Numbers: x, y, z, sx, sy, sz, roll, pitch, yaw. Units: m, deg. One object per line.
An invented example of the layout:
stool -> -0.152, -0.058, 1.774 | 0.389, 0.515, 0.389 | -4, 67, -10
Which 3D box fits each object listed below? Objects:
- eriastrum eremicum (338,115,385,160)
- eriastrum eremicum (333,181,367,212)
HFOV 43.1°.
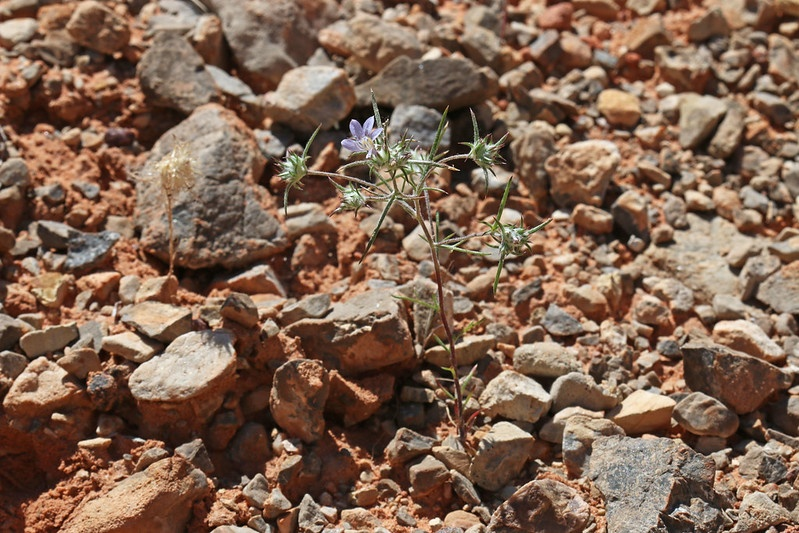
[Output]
eriastrum eremicum -> -0.214, -0.854, 6.860 | 0.304, 0.317, 0.182 | -7, 79, 25
eriastrum eremicum -> -0.334, -0.481, 7.117 | 0.131, 0.263, 0.244 | -1, 12, 35
